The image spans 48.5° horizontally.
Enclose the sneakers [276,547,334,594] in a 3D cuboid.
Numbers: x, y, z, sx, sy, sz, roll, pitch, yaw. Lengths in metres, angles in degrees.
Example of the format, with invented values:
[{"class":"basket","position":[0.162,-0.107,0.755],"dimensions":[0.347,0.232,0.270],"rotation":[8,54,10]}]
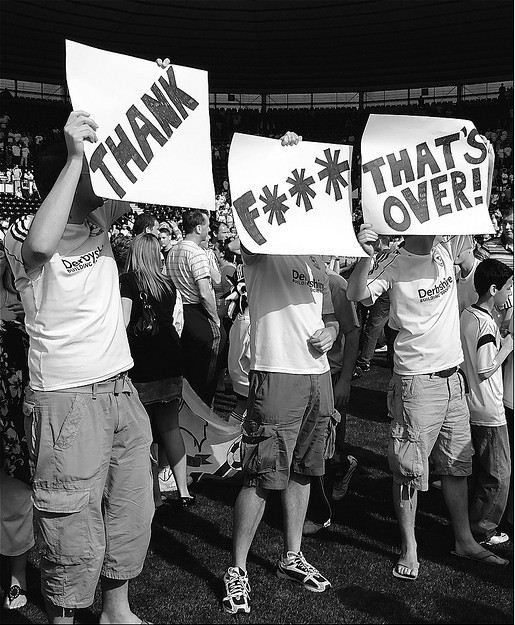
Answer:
[{"class":"sneakers","position":[0.221,1.228,2.698],"dimensions":[0.107,0.175,0.270],"rotation":[1,2,-42]}]

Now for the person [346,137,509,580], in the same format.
[{"class":"person","position":[0.843,0.424,3.021],"dimensions":[0.827,1.730,0.492],"rotation":[-1,2,-14]}]

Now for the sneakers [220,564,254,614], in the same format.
[{"class":"sneakers","position":[-0.088,1.224,2.605],"dimensions":[0.127,0.168,0.231],"rotation":[0,4,-2]}]

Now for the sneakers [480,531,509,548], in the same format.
[{"class":"sneakers","position":[1.315,1.244,3.202],"dimensions":[0.164,0.114,0.079],"rotation":[2,-10,-22]}]

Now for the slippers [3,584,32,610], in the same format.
[{"class":"slippers","position":[-1.061,1.262,2.535],"dimensions":[0.051,0.066,0.118],"rotation":[4,-7,-11]}]

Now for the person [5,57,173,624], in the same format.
[{"class":"person","position":[-0.613,0.281,2.104],"dimensions":[0.516,1.929,0.358],"rotation":[-2,3,-44]}]

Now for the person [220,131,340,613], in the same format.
[{"class":"person","position":[0.120,0.501,2.696],"dimensions":[0.563,1.596,0.401],"rotation":[0,2,-7]}]
